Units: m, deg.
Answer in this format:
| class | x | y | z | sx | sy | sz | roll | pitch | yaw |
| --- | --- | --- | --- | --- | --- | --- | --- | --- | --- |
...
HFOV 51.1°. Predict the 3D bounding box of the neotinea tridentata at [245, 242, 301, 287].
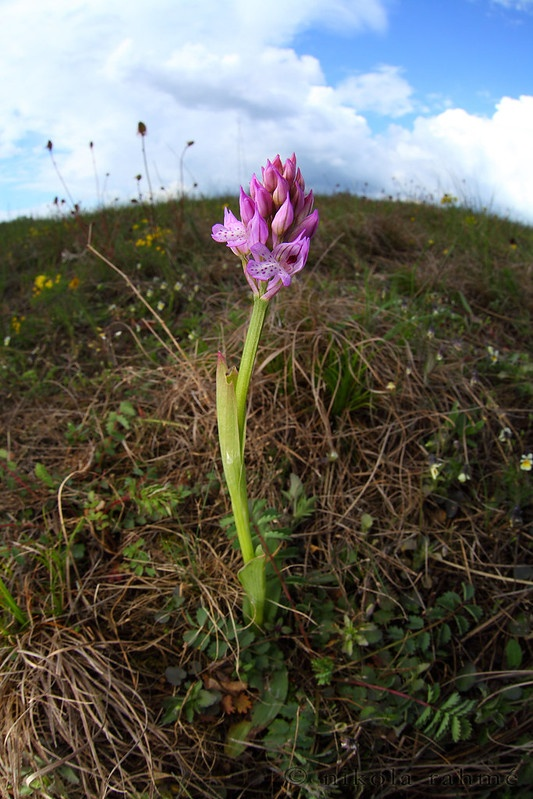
| class | x | y | z | sx | sy | sz | roll | pitch | yaw |
| --- | --- | --- | --- | --- | --- | --- | --- | --- | --- |
| neotinea tridentata | 0.023 | -0.422 | 1.775 | 0.185 | 0.160 | 0.139 | 1 | 41 | 11 |
